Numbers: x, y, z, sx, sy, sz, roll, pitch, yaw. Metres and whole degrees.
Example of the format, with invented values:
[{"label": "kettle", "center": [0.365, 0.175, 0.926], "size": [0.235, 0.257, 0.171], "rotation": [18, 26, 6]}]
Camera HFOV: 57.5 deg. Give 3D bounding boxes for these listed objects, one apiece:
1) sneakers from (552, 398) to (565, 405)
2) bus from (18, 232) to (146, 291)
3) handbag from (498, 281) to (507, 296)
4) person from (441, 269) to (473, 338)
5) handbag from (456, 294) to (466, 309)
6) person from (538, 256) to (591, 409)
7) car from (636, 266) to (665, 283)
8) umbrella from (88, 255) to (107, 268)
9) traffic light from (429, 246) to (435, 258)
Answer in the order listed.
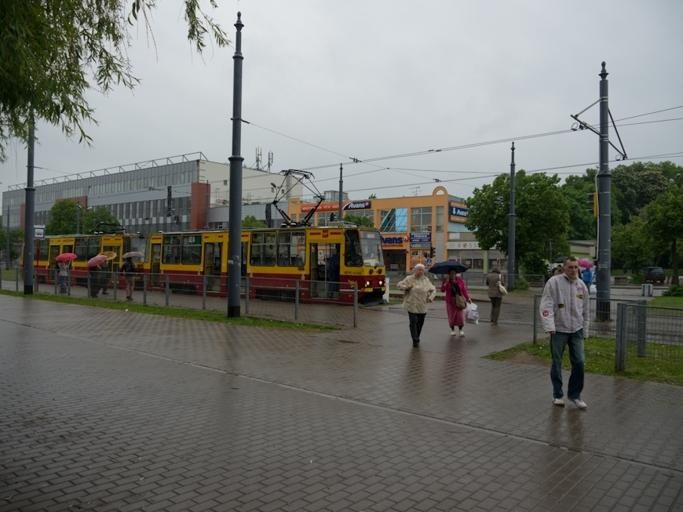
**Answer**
[{"label": "sneakers", "center": [3.332, 2.222, 9.482], "size": [0.172, 0.089, 0.223], "rotation": [1, 3, 16]}, {"label": "bus", "center": [-12.600, 0.323, 30.499], "size": [9.597, 3.188, 2.647], "rotation": [-2, 0, 40]}, {"label": "handbag", "center": [4.722, 0.920, 17.944], "size": [0.159, 0.407, 0.294], "rotation": [-18, -19, 6]}, {"label": "person", "center": [3.047, 1.218, 16.447], "size": [0.673, 1.646, 1.738], "rotation": [1, 3, 9]}, {"label": "handbag", "center": [2.998, 1.166, 15.630], "size": [0.152, 0.403, 0.301], "rotation": [-10, 5, -17]}, {"label": "person", "center": [3.475, 1.145, 9.582], "size": [0.798, 2.232, 0.702], "rotation": [0, 3, -3]}, {"label": "car", "center": [25.272, 1.702, 50.908], "size": [1.427, 1.432, 2.812], "rotation": [-1, 5, 1]}, {"label": "umbrella", "center": [-10.762, 0.260, 27.366], "size": [0.751, 0.299, 0.787], "rotation": [-20, 12, 15]}, {"label": "traffic light", "center": [7.659, -0.226, 52.606], "size": [0.261, 1.182, 1.169], "rotation": [1, 0, -5]}]
